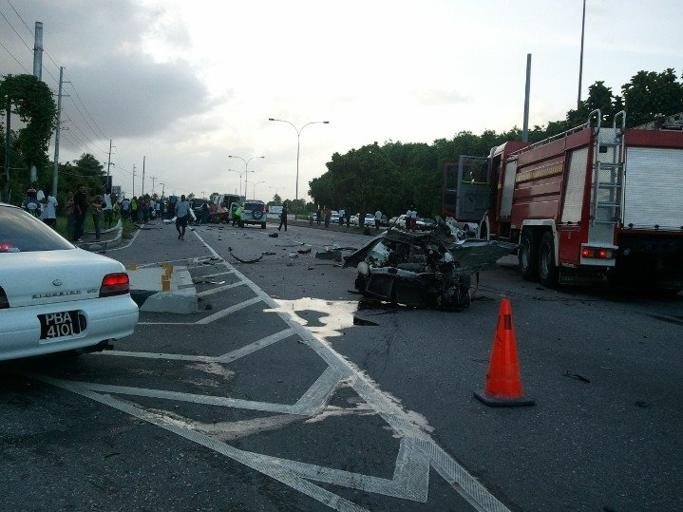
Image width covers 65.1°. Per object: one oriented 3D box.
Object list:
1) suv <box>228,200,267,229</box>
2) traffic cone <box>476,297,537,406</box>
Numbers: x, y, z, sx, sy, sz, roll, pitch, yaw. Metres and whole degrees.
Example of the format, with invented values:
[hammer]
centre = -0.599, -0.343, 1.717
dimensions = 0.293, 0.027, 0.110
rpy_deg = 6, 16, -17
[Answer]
[suv]
centre = -8.198, -3.675, 46.775
dimensions = 2.071, 2.374, 5.203
rpy_deg = 0, 7, -20
[traffic cone]
centre = 1.680, 0.978, 5.502
dimensions = 0.581, 1.014, 0.451
rpy_deg = 2, 6, 2
